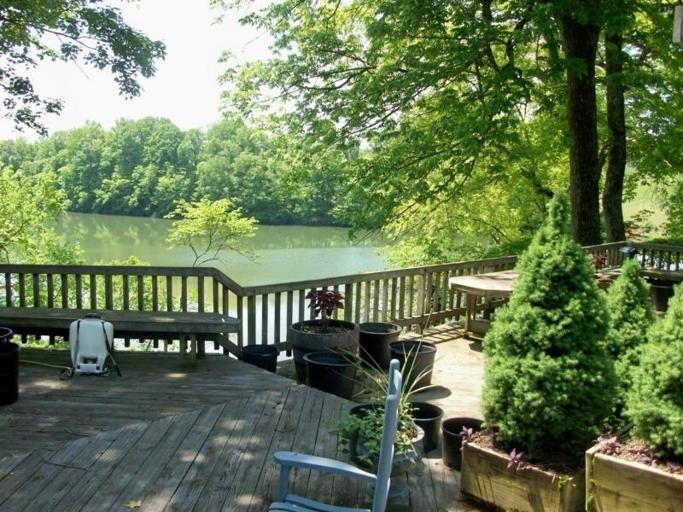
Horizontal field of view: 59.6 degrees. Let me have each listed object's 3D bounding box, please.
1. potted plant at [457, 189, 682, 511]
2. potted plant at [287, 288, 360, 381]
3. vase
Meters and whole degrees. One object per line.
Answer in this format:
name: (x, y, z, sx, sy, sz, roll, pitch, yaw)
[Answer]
potted plant: (1.496, 0.627, 4.970, 1.856, 2.972, 1.416, 2, 5, -6)
potted plant: (-0.134, 0.733, 5.852, 0.880, 0.957, 0.796, -1, 3, 6)
vase: (0.359, 1.080, 4.611, 0.998, 0.719, 1.009, 0, -4, 0)
